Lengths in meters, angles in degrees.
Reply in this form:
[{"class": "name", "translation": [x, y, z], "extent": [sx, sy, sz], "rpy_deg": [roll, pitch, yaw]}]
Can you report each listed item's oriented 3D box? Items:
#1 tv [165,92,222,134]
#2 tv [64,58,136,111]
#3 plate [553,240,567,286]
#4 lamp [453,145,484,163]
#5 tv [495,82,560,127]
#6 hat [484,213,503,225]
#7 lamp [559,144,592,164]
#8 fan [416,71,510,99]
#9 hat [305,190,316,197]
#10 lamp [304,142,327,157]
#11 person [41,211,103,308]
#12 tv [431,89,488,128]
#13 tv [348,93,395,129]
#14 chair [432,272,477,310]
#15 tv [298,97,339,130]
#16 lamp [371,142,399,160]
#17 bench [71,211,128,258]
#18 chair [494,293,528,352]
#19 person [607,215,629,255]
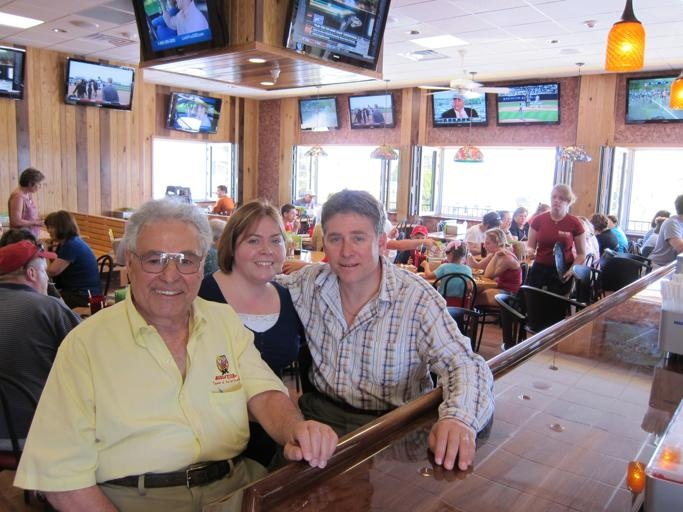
[{"class": "tv", "translation": [-3.328, -3.259, 11.202], "extent": [0.170, 0.849, 1.451], "rpy_deg": [23, 19, 30]}, {"class": "tv", "translation": [-4.352, -3.094, 8.839], "extent": [1.011, 0.708, 0.103], "rpy_deg": [-4, 19, -44]}, {"class": "plate", "translation": [2.493, 0.059, 5.628], "extent": [0.053, 0.487, 0.265], "rpy_deg": [0, 44, 32]}, {"class": "lamp", "translation": [2.123, -1.693, 8.308], "extent": [0.359, 0.220, 0.360], "rpy_deg": [0, 0, 2]}, {"class": "tv", "translation": [3.419, -2.765, 8.955], "extent": [1.044, 0.668, 0.043], "rpy_deg": [5, 16, 30]}, {"class": "hat", "translation": [2.082, -0.518, 6.769], "extent": [0.214, 0.119, 0.158], "rpy_deg": [-2, 19, 10]}, {"class": "lamp", "translation": [3.974, -1.726, 8.419], "extent": [0.361, 0.187, 0.508], "rpy_deg": [4, 6, -5]}, {"class": "fan", "translation": [2.185, -3.014, 8.671], "extent": [1.089, 0.239, 1.179], "rpy_deg": [6, 9, 31]}, {"class": "hat", "translation": [-0.713, -1.459, 11.481], "extent": [0.292, 0.132, 0.406], "rpy_deg": [0, 3, -9]}, {"class": "lamp", "translation": [-0.542, -2.248, 10.784], "extent": [0.450, 0.222, 0.451], "rpy_deg": [0, 2, 0]}, {"class": "person", "translation": [-2.682, 0.175, 4.837], "extent": [0.654, 1.195, 0.485], "rpy_deg": [3, 14, -18]}, {"class": "tv", "translation": [2.303, -2.838, 9.474], "extent": [1.078, 0.784, 0.108], "rpy_deg": [7, 25, 33]}, {"class": "tv", "translation": [0.710, -3.197, 10.846], "extent": [0.839, 0.580, 0.085], "rpy_deg": [7, 18, 34]}, {"class": "chair", "translation": [0.990, 0.297, 4.288], "extent": [0.273, 0.436, 0.299], "rpy_deg": [2, 22, 13]}, {"class": "tv", "translation": [-0.511, -3.363, 11.697], "extent": [1.079, 0.741, 0.249], "rpy_deg": [8, 12, 36]}, {"class": "lamp", "translation": [0.937, -2.049, 9.818], "extent": [0.530, 0.224, 0.526], "rpy_deg": [-4, 11, -18]}, {"class": "bench", "translation": [-4.133, -0.454, 8.288], "extent": [0.969, 0.496, 0.455], "rpy_deg": [4, 13, 35]}, {"class": "chair", "translation": [1.496, 0.561, 4.267], "extent": [0.323, 0.411, 0.325], "rpy_deg": [-10, -5, 6]}, {"class": "person", "translation": [4.201, -0.316, 7.536], "extent": [0.224, 0.212, 0.707], "rpy_deg": [-21, 27, 16]}]
